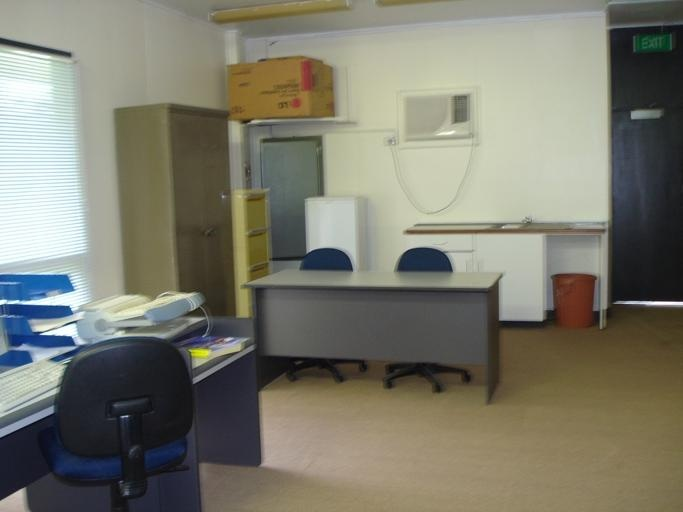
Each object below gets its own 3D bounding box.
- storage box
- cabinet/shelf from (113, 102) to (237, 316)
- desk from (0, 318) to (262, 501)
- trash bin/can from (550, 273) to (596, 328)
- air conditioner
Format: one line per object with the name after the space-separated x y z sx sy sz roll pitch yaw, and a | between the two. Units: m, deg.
-0.733 -1.954 6.949 1.252 0.689 0.577 -2 11 -3 | storage box
-1.627 -0.358 5.983 0.529 2.270 1.201 8 14 41 | cabinet/shelf
-1.097 0.767 2.966 0.522 0.815 1.181 2 5 18 | desk
2.571 0.493 6.766 0.552 0.593 0.559 0 6 15 | trash bin/can
1.215 -1.493 7.384 1.177 0.811 0.626 1 12 12 | air conditioner
